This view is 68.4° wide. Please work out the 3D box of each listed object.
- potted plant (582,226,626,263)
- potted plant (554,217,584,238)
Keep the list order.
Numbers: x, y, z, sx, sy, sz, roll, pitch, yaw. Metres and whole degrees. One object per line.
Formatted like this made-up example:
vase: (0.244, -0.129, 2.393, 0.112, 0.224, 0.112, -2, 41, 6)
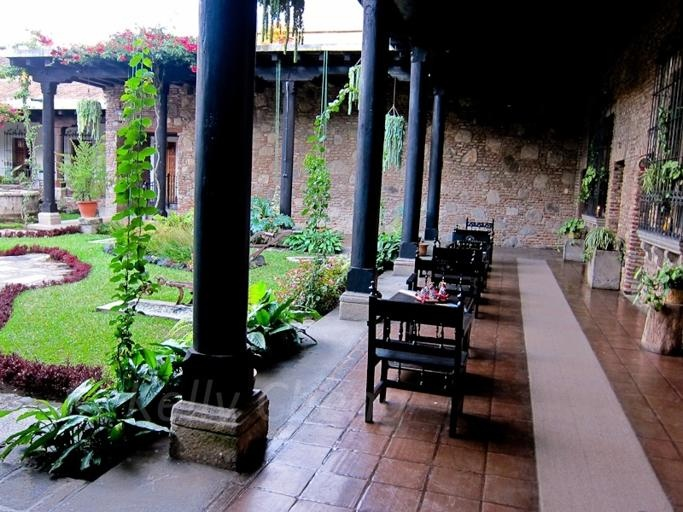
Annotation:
potted plant: (4.738, -0.277, 9.222, 0.781, 0.907, 0.632, -1, 3, -4)
potted plant: (6.089, -0.763, 13.298, 0.509, 0.511, 1.857, 5, 10, 16)
